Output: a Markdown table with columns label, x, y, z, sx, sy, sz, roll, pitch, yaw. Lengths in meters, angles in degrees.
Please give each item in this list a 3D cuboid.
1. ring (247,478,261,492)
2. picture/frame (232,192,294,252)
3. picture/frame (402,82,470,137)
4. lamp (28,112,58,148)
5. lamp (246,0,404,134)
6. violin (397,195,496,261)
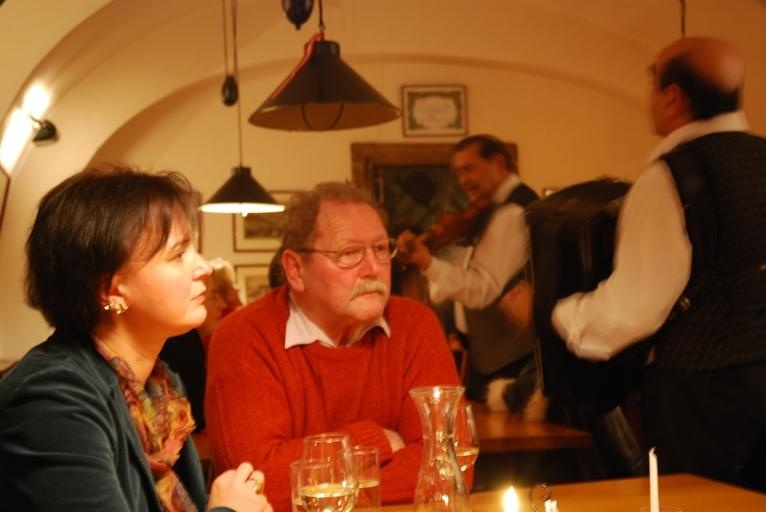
| label | x | y | z | sx | sy | sz | roll | pitch | yaw |
| --- | --- | --- | --- | --- | --- | --- | --- | --- | --- |
| ring | -0.430 | 0.760 | 2.451 | 0.034 | 0.044 | 0.017 | 14 | 40 | 34 |
| picture/frame | -0.663 | -0.165 | 4.106 | 0.276 | 0.299 | 0.392 | -1 | -7 | 1 |
| picture/frame | 0.281 | -0.804 | 4.059 | 0.363 | 0.301 | 0.018 | 0 | 31 | 4 |
| lamp | -1.837 | -0.684 | 4.001 | 0.143 | 0.156 | 0.045 | -1 | -7 | -6 |
| lamp | -0.259 | -0.778 | 3.206 | 0.568 | 0.386 | 0.502 | -9 | -11 | 38 |
| violin | 0.358 | -0.163 | 4.097 | 0.573 | 0.252 | 0.121 | -29 | 16 | -15 |
